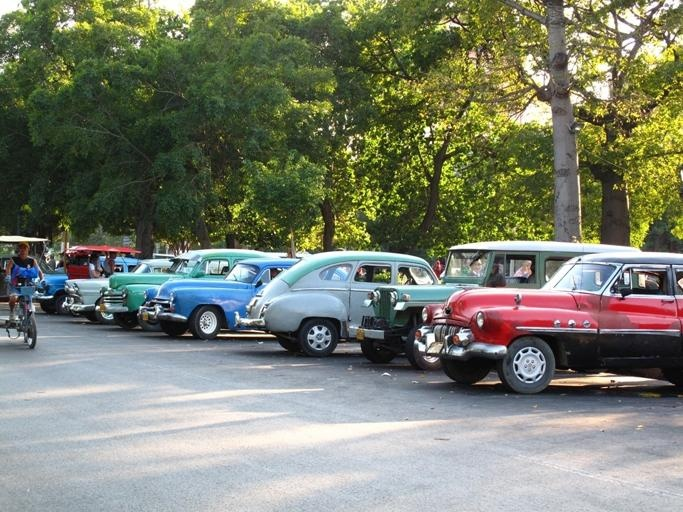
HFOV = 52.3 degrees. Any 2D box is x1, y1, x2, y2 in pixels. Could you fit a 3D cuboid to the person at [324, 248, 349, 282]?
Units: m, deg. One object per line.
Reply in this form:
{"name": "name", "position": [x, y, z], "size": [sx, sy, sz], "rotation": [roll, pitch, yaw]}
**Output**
{"name": "person", "position": [-0.134, 0.238, 15.574], "size": [0.826, 0.652, 0.188], "rotation": [13, 2, -16]}

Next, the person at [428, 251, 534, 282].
{"name": "person", "position": [3.542, 0.262, 16.859], "size": [1.530, 0.670, 0.970], "rotation": [0, -3, 4]}
